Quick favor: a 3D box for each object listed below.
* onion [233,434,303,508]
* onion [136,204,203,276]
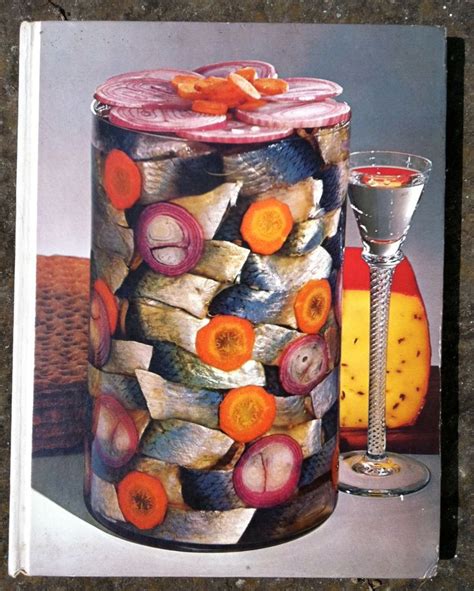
[{"bbox_3d":[0.052,0.283,1.373,0.140,0.088,0.114,-3,107,-20],"label":"onion"},{"bbox_3d":[-0.103,-0.086,1.249,0.101,0.063,0.106,-9,70,-6],"label":"onion"}]
